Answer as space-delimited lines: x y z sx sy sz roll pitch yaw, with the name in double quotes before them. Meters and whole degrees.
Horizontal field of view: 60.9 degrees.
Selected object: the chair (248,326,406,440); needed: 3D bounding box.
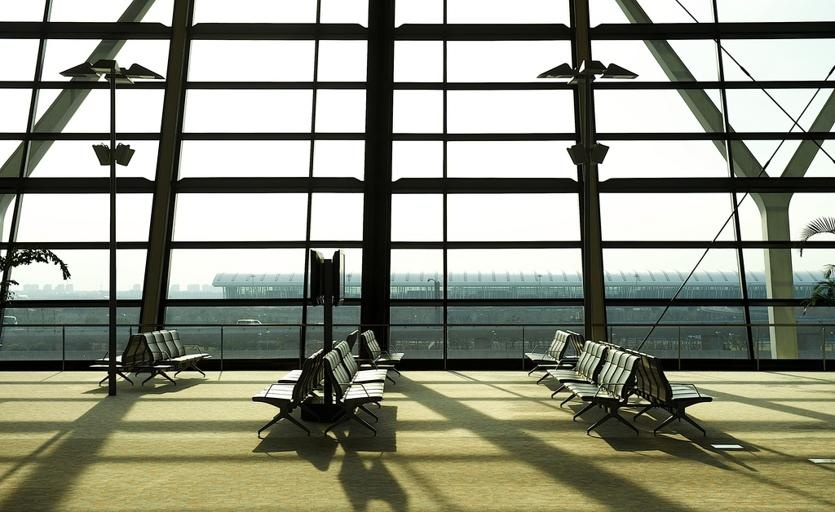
"chair" -1.898 2.682 14.608 2.392 1.651 2.412 1 12 5
